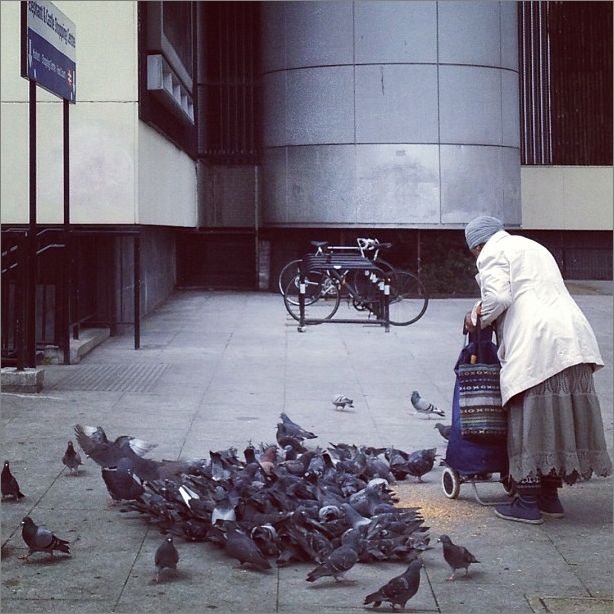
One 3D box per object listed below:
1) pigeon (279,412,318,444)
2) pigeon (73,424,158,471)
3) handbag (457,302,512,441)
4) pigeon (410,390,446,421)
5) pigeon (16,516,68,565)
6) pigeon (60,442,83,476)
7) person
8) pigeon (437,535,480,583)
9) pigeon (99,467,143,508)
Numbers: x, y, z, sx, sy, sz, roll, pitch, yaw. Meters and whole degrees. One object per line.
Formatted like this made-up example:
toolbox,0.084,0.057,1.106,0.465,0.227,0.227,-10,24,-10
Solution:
pigeon,-0.126,0.946,6.533,0.402,0.297,0.140,1,2,25
pigeon,-1.285,0.941,5.589,0.148,0.216,0.301,-45,-26,12
handbag,1.044,0.419,5.086,0.208,0.709,0.312,-9,-13,43
pigeon,1.120,0.899,7.626,0.304,0.265,0.376,-1,3,12
pigeon,-1.266,1.106,4.016,0.270,0.186,0.115,12,-10,-35
pigeon,-1.610,1.029,5.599,0.109,0.215,0.301,-3,-23,-5
person,1.355,0.343,4.904,0.804,1.761,0.494,-1,3,12
pigeon,0.683,1.157,3.884,0.115,0.208,0.306,-6,-4,31
pigeon,-1.053,1.021,4.769,0.199,0.126,0.326,16,-9,0
